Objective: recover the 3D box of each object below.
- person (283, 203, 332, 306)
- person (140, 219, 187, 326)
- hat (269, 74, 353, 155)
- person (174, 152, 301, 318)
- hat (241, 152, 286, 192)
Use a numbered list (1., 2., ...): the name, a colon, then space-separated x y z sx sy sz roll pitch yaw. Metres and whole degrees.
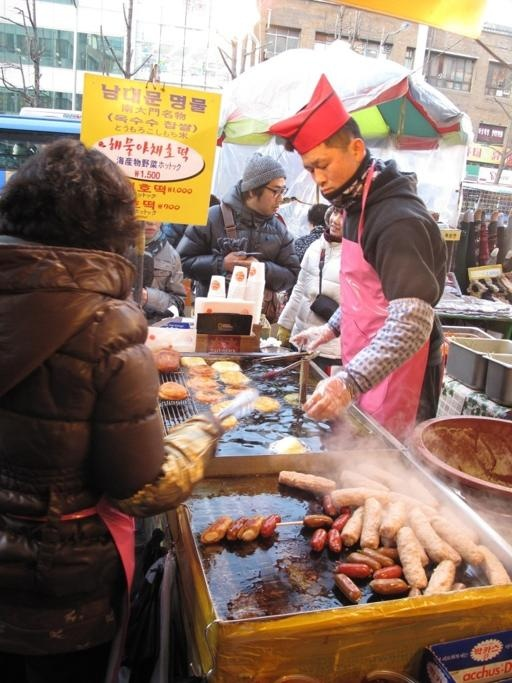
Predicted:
1. person: 0.616 -1.034 6.089 0.542 1.160 0.487 -9 24 -37
2. person: -0.739 -0.545 4.154 0.393 0.840 0.375 -5 24 -27
3. hat: 0.272 -1.009 2.476 0.405 0.229 0.372 -29 22 19
4. person: 0.002 -1.037 4.770 1.018 1.584 0.868 -8 22 -24
5. hat: 0.061 -1.598 4.780 0.358 0.278 0.342 5 25 19
